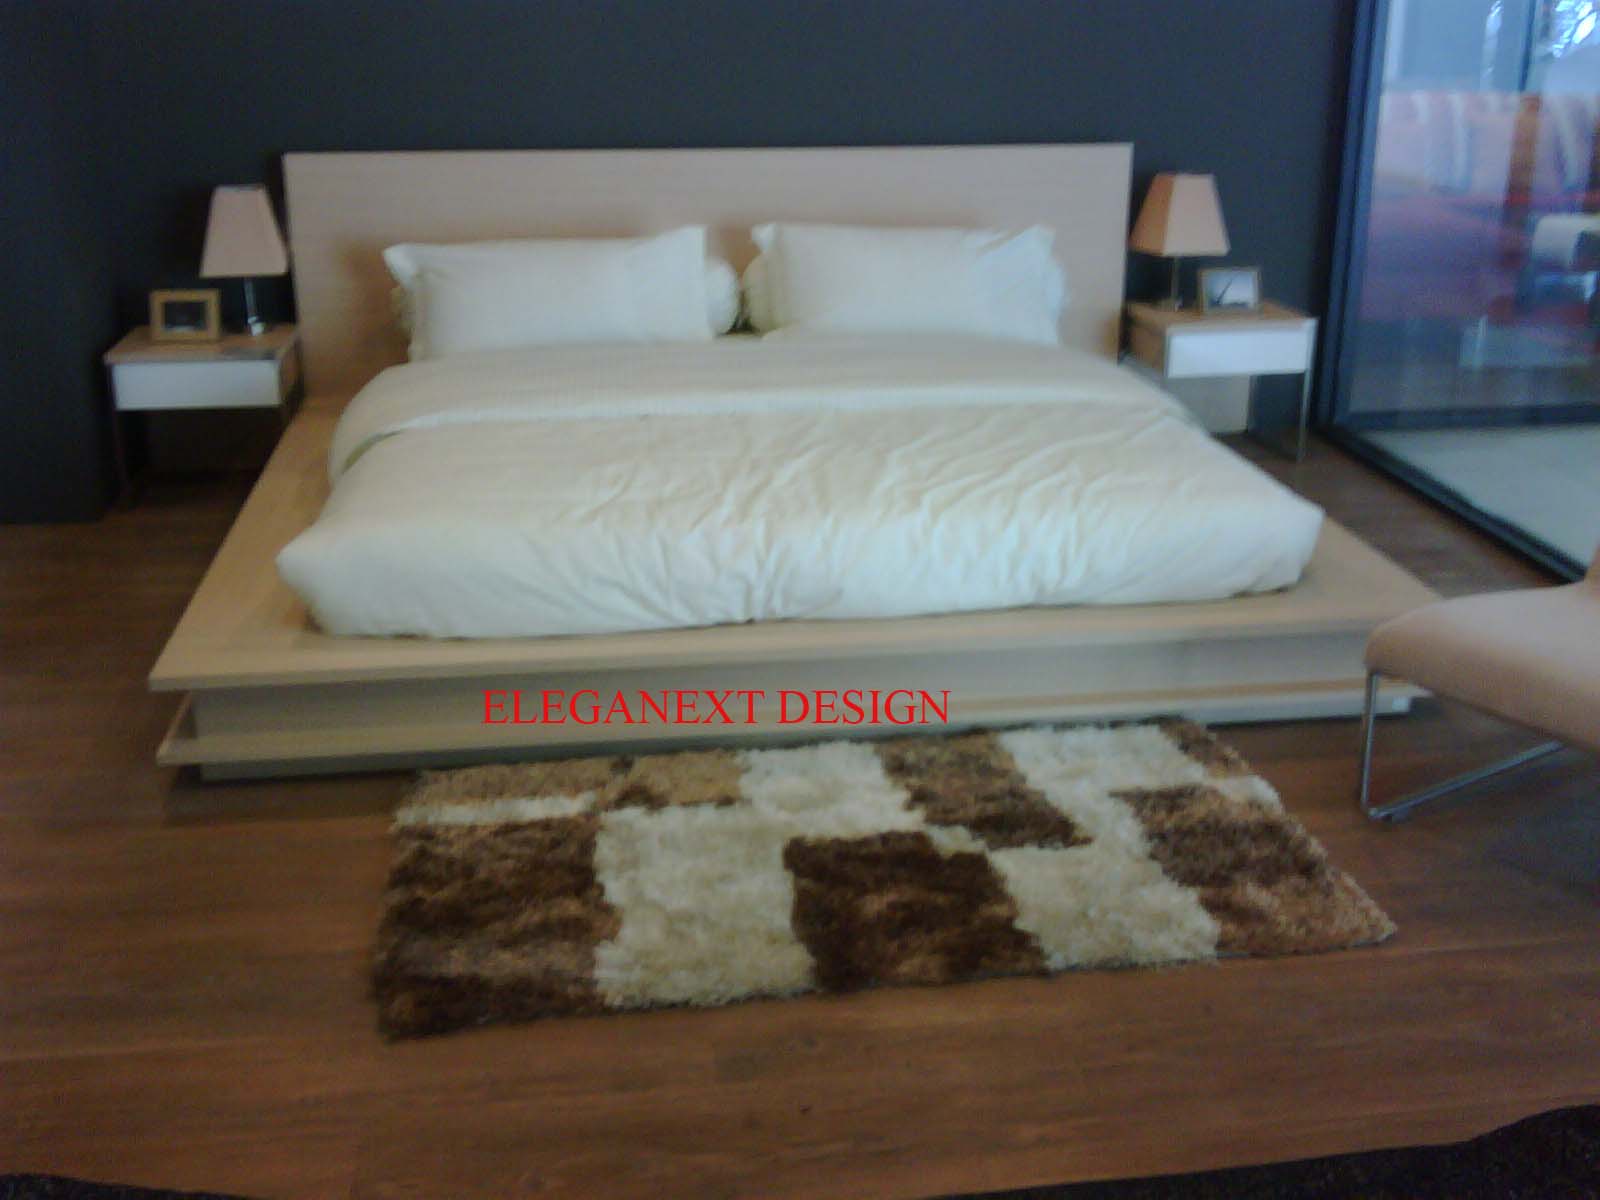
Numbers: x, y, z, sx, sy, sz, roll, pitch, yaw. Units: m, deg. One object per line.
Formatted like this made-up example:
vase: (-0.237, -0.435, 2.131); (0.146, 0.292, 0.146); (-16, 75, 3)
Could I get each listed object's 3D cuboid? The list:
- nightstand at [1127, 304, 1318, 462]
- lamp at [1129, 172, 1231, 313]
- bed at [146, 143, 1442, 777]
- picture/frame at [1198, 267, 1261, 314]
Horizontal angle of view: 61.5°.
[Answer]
nightstand: (1.578, -0.942, 5.241); (0.592, 0.555, 0.654); (-1, 33, -1)
lamp: (1.442, -1.366, 5.144); (0.373, 0.487, 0.417); (6, 25, 14)
bed: (-0.121, -0.642, 4.152); (3.337, 1.288, 2.350); (-4, 24, -5)
picture/frame: (1.623, -1.181, 5.109); (0.263, 0.188, 0.142); (0, 16, 0)
